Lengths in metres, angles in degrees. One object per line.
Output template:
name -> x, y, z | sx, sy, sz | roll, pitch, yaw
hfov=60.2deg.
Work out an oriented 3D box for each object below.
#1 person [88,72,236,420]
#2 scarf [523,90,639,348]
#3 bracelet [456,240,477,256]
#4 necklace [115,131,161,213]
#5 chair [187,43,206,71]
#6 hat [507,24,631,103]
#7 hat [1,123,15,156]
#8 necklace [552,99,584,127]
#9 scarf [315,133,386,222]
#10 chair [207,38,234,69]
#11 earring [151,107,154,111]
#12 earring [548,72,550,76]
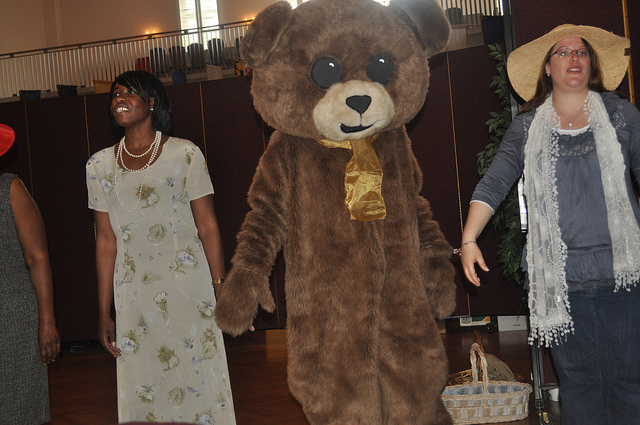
person -> -0.857, 0.187, 2.978 | 0.744, 1.919, 0.232 | -5, -2, 10
scarf -> 1.174, 0.004, 2.520 | 0.491, 1.107, 0.176 | -5, -2, 18
bracelet -> 0.685, 0.168, 2.586 | 0.060, 0.038, 0.093 | -4, -6, 5
necklace -> -0.978, -0.254, 2.991 | 0.162, 0.527, 0.022 | 8, -29, 7
chair -> -2.886, -3.658, 12.864 | 0.413, 0.764, 0.435 | -4, -2, -9
hat -> 1.254, -0.749, 2.728 | 0.599, 0.346, 0.349 | -5, -3, 14
hat -> -1.765, -0.417, 3.102 | 0.059, 0.190, 0.173 | -3, -3, -29
necklace -> 1.151, -0.458, 2.546 | 0.126, 0.121, 0.005 | 0, -8, -1
scarf -> 0.188, -0.196, 2.753 | 0.371, 0.625, 0.138 | -9, -32, 11
chair -> -2.311, -3.724, 12.778 | 0.424, 0.624, 0.510 | -15, 21, -37
earring -> -0.916, -0.565, 3.009 | 0.013, 0.016, 0.006 | -4, -2, -15
earring -> 1.094, -0.662, 2.632 | 0.005, 0.013, 0.024 | -5, -3, 20
